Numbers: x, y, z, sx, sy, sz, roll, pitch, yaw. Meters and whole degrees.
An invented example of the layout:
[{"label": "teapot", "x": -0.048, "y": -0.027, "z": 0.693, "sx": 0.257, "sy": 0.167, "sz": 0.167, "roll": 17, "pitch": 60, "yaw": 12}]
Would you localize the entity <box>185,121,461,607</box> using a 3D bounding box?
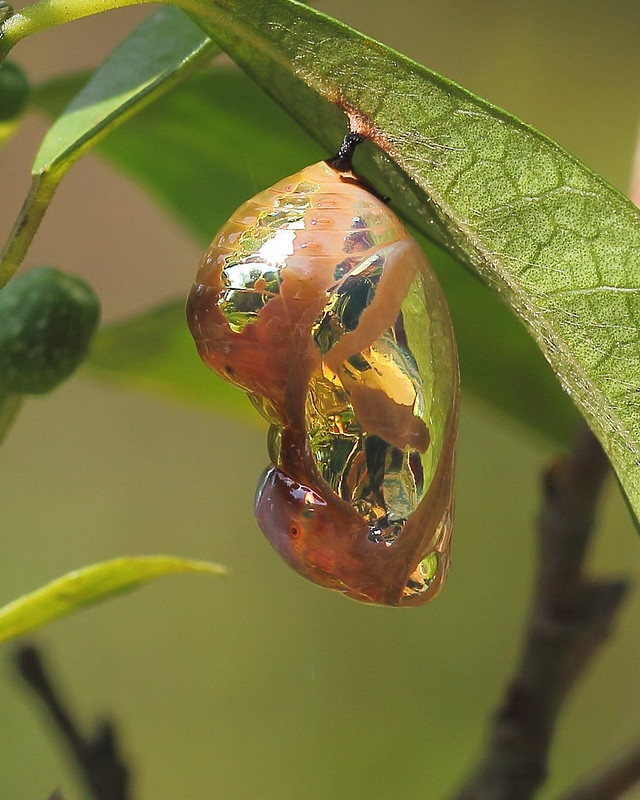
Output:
[{"label": "entity", "x": 0.019, "y": 0.001, "z": 0.294, "sx": 0.109, "sy": 0.087, "sz": 0.135, "roll": 7, "pitch": 79, "yaw": -3}]
